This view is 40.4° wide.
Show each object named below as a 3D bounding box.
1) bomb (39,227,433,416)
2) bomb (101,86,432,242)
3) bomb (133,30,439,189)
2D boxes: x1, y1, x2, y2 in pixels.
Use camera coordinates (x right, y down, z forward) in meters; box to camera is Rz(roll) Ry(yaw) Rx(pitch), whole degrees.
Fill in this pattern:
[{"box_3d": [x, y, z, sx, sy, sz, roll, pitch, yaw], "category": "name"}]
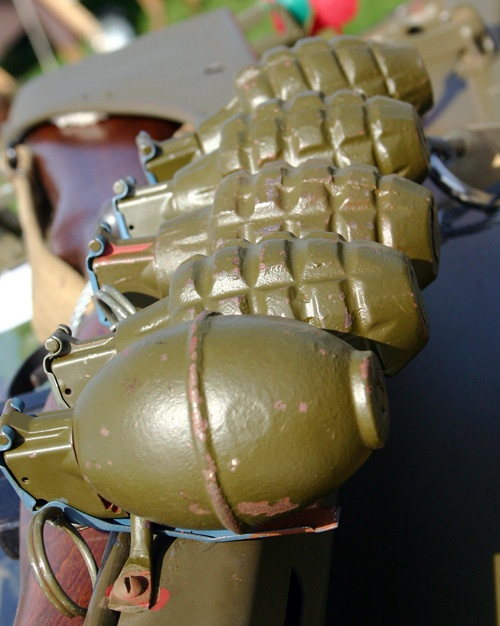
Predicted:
[{"box_3d": [-0.010, 0.022, 0.991, 0.502, 0.205, 0.187, -9, 63, 8], "category": "bomb"}, {"box_3d": [0.028, -0.290, 1.440, 0.684, 0.283, 0.242, -10, 96, 15], "category": "bomb"}, {"box_3d": [0.003, -0.488, 1.541, 0.725, 0.271, 0.274, -16, 91, 6], "category": "bomb"}]
